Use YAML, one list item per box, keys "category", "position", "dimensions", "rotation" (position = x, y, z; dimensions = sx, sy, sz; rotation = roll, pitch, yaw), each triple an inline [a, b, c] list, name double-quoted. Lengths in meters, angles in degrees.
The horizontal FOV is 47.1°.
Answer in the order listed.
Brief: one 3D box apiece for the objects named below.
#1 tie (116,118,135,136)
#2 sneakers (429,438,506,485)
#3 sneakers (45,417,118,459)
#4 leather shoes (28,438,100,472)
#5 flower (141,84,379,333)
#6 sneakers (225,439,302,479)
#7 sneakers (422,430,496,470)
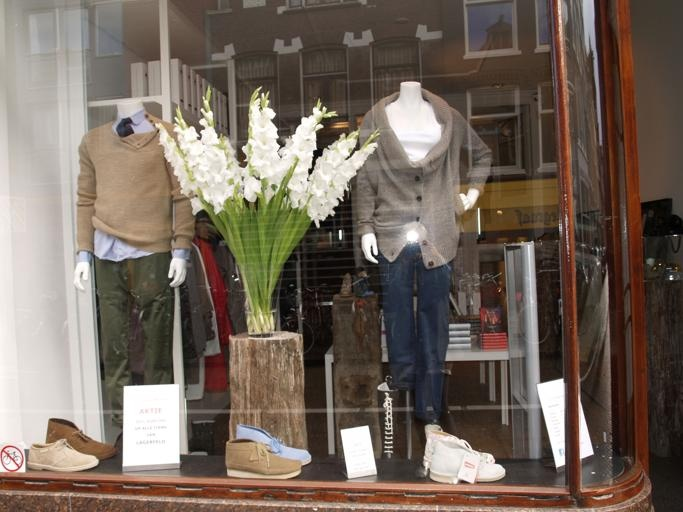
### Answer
- category: "tie"
  position: [-0.899, -0.531, 3.252]
  dimensions: [0.063, 0.075, 0.021]
  rotation: [5, 4, 9]
- category: "sneakers"
  position: [0.473, 0.779, 2.984]
  dimensions: [0.227, 0.127, 0.158]
  rotation: [-1, 1, -2]
- category: "sneakers"
  position: [-1.068, 0.749, 3.193]
  dimensions: [0.331, 0.164, 0.132]
  rotation: [9, -2, 0]
- category: "leather shoes"
  position: [-1.115, 0.805, 3.186]
  dimensions: [0.273, 0.133, 0.118]
  rotation: [3, -6, -1]
- category: "flower"
  position: [-0.368, -0.147, 3.210]
  dimensions: [0.698, 0.849, 0.719]
  rotation: [3, -7, -30]
- category: "sneakers"
  position: [-0.298, 0.794, 3.077]
  dimensions: [0.290, 0.143, 0.129]
  rotation: [0, -7, 1]
- category: "sneakers"
  position: [0.435, 0.746, 3.052]
  dimensions: [0.325, 0.209, 0.117]
  rotation: [-2, -4, 4]
